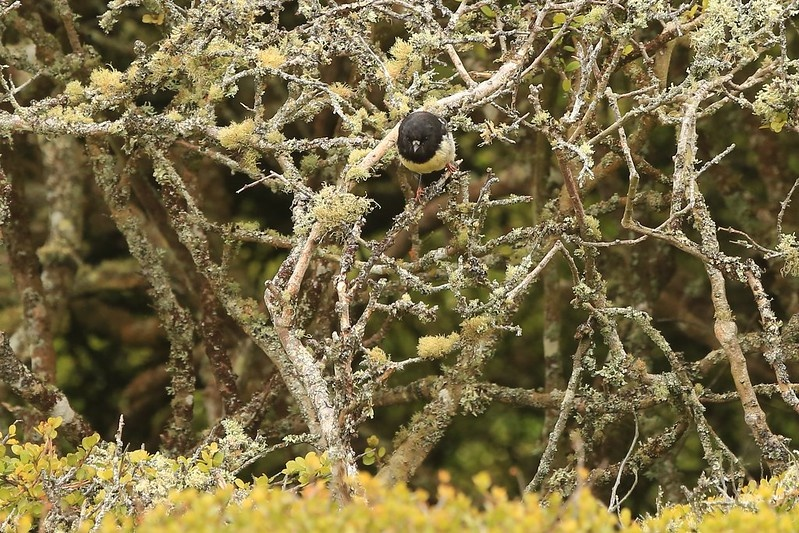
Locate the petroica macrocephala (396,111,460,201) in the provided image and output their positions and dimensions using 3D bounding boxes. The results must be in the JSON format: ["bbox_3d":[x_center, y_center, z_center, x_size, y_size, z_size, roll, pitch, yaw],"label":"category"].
[{"bbox_3d":[0.166,-0.722,7.626,0.246,0.400,0.625,0,49,8],"label":"petroica macrocephala"}]
